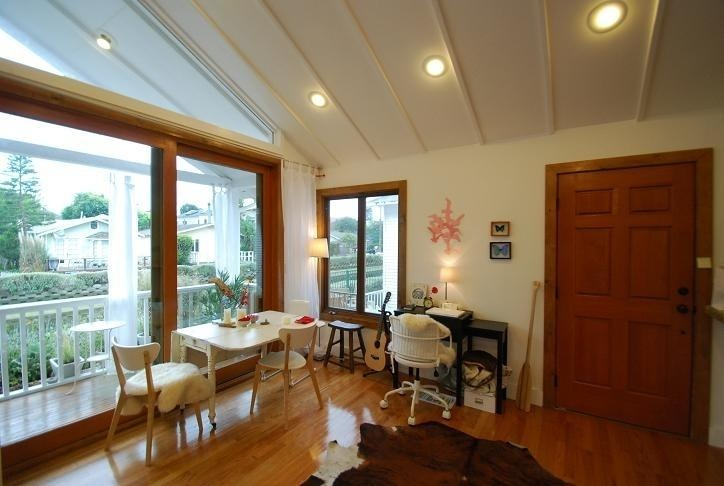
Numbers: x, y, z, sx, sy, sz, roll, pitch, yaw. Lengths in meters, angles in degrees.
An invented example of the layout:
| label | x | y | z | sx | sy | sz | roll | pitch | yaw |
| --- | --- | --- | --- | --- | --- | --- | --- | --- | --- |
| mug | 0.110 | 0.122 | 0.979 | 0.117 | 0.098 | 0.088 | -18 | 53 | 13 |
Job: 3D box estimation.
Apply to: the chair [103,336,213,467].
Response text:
| label | x | y | z | sx | sy | sz | roll | pitch | yaw |
| --- | --- | --- | --- | --- | --- | --- | --- | --- | --- |
| chair | -2.042 | 1.450 | 4.883 | 0.735 | 1.039 | 0.904 | 1 | 3 | 33 |

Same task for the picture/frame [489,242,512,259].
| label | x | y | z | sx | sy | sz | roll | pitch | yaw |
| --- | --- | --- | --- | --- | --- | --- | --- | --- | --- |
| picture/frame | 1.587 | 0.088 | 5.538 | 0.171 | 0.153 | 0.015 | 3 | 5 | 31 |

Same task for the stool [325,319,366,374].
| label | x | y | z | sx | sy | sz | roll | pitch | yaw |
| --- | --- | --- | --- | --- | --- | --- | --- | --- | --- |
| stool | -0.195 | 1.323 | 6.325 | 0.488 | 0.608 | 0.477 | 8 | 12 | 37 |

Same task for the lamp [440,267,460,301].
| label | x | y | z | sx | sy | sz | roll | pitch | yaw |
| --- | --- | --- | --- | --- | --- | --- | --- | --- | --- |
| lamp | 1.038 | 0.492 | 5.769 | 0.191 | 0.410 | 0.202 | -2 | 0 | 15 |

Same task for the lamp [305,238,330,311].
| label | x | y | z | sx | sy | sz | roll | pitch | yaw |
| --- | --- | --- | --- | --- | --- | --- | --- | --- | --- |
| lamp | -0.572 | 0.432 | 6.595 | 0.262 | 0.915 | 0.434 | -2 | 0 | 2 |

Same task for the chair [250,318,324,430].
| label | x | y | z | sx | sy | sz | roll | pitch | yaw |
| --- | --- | --- | --- | --- | --- | --- | --- | --- | --- |
| chair | -0.829 | 1.359 | 5.317 | 0.617 | 0.924 | 0.606 | -4 | -4 | 33 |

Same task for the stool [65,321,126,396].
| label | x | y | z | sx | sy | sz | roll | pitch | yaw |
| --- | --- | --- | --- | --- | --- | --- | --- | --- | --- |
| stool | -2.703 | 1.100 | 4.878 | 0.561 | 0.652 | 0.560 | 2 | 2 | 28 |

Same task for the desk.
| label | x | y | z | sx | sy | sz | roll | pitch | yaw |
| --- | --- | --- | --- | --- | --- | --- | --- | --- | --- |
| desk | 1.033 | 1.337 | 5.670 | 1.185 | 0.950 | 0.458 | 3 | 6 | 26 |

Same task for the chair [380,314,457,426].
| label | x | y | z | sx | sy | sz | roll | pitch | yaw |
| --- | --- | --- | --- | --- | --- | --- | --- | --- | --- |
| chair | 0.611 | 1.316 | 5.435 | 0.756 | 1.066 | 0.766 | 5 | 4 | 34 |
